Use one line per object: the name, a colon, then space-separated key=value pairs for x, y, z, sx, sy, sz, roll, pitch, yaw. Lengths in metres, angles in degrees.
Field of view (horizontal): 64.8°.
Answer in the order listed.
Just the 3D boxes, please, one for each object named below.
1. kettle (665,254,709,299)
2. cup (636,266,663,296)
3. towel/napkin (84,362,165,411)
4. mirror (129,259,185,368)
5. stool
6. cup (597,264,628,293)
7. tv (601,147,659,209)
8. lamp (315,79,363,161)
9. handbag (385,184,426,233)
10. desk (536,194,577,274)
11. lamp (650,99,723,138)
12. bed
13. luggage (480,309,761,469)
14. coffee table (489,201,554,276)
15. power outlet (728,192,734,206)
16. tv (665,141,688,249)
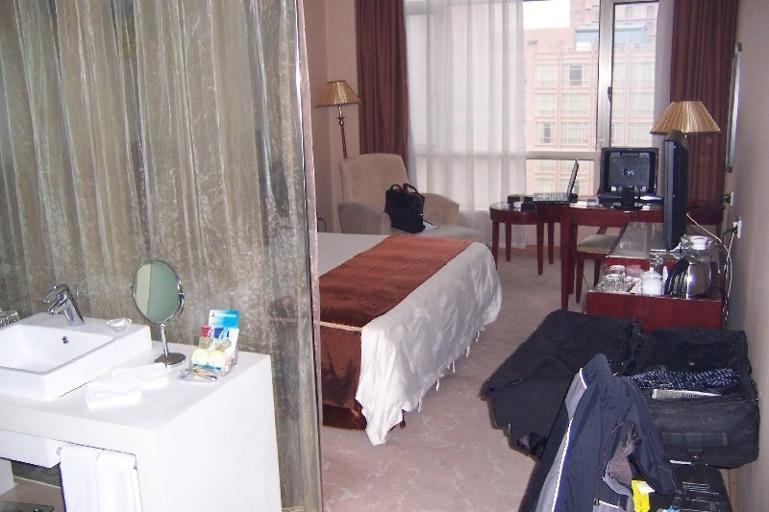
kettle: x=1.761 y=0.117 z=3.547 sx=0.261 sy=0.278 sz=0.204 roll=0 pitch=8 yaw=14
cup: x=1.576 y=0.160 z=3.593 sx=0.151 sy=0.164 sz=0.114 roll=-1 pitch=6 yaw=7
towel/napkin: x=-1.134 y=0.563 z=2.666 sx=0.197 sy=0.066 sz=0.204 roll=-5 pitch=14 yaw=-8
mirror: x=-1.033 y=0.257 z=2.829 sx=0.214 sy=0.489 sz=0.157 roll=5 pitch=16 yaw=28
stool: x=1.726 y=0.058 z=4.871 sx=0.413 sy=0.553 sz=0.616 roll=6 pitch=17 yaw=27
cup: x=1.398 y=0.136 z=3.711 sx=0.207 sy=0.216 sz=0.132 roll=4 pitch=5 yaw=9
tv: x=2.157 y=-0.727 z=5.397 sx=0.459 sy=0.457 sz=0.130 roll=-1 pitch=14 yaw=10
lamp: x=-0.535 y=-1.612 z=7.189 sx=0.532 sy=0.925 sz=0.707 roll=-5 pitch=14 yaw=-6
handbag: x=0.183 y=-0.482 z=6.157 sx=0.301 sy=0.456 sz=0.454 roll=-14 pitch=18 yaw=-35
desk: x=1.680 y=-0.350 z=6.194 sx=0.464 sy=0.629 sz=0.466 roll=-1 pitch=15 yaw=7
lamp: x=2.656 y=-1.220 z=5.365 sx=0.414 sy=0.280 sz=0.388 roll=-7 pitch=15 yaw=-15
bed: x=-0.065 y=0.534 z=4.410 sx=0.724 sy=0.906 sz=1.577 roll=4 pitch=16 yaw=27
luggage: x=1.200 y=0.619 z=3.056 sx=0.913 sy=0.290 sz=0.956 roll=1 pitch=22 yaw=16
coffee table: x=1.383 y=-0.262 z=6.372 sx=0.766 sy=0.713 sz=0.726 roll=8 pitch=14 yaw=39
power outlet: x=2.579 y=-0.416 z=4.507 sx=0.037 sy=0.113 sz=0.222 roll=5 pitch=17 yaw=30
tv: x=1.795 y=-0.377 z=3.749 sx=0.056 sy=0.454 sz=0.591 roll=-1 pitch=12 yaw=21
